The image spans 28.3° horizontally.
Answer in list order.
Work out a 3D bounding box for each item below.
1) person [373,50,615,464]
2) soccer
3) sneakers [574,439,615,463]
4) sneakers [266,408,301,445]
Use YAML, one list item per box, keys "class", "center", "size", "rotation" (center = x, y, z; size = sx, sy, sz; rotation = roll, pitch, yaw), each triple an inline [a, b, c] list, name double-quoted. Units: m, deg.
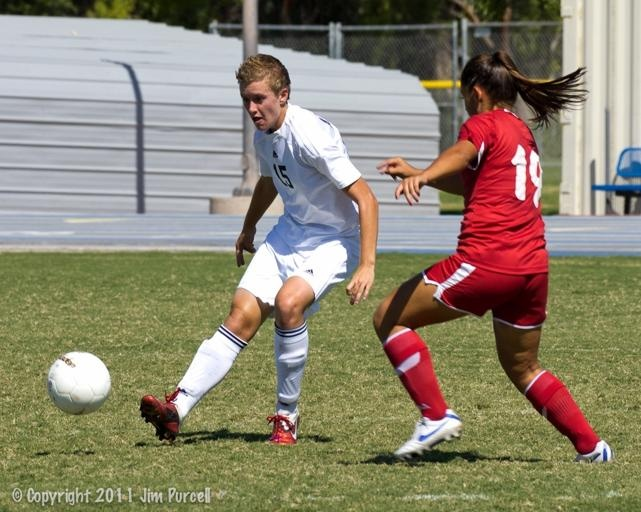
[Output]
- class: "person"
  center: [0.989, 0.001, 7.531]
  size: [1.327, 2.341, 0.752]
  rotation: [1, 12, 2]
- class: "soccer"
  center: [-1.494, 0.820, 7.812]
  size: [0.326, 0.370, 0.348]
  rotation: [5, 17, -16]
- class: "sneakers"
  center: [1.625, 1.179, 7.524]
  size: [0.231, 0.124, 0.090]
  rotation: [2, -1, -9]
- class: "sneakers"
  center: [-0.227, 1.083, 7.849]
  size: [0.195, 0.169, 0.435]
  rotation: [2, 11, 10]
